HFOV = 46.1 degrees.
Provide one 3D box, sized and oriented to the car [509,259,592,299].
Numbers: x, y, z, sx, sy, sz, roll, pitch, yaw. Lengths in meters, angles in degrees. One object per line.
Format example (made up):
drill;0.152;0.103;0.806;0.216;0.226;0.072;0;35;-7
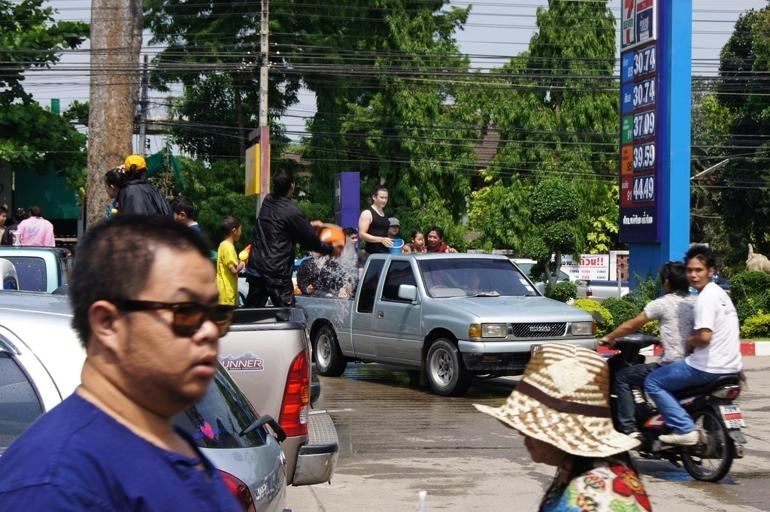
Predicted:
car;4.318;0.573;23.356;2.049;1.201;1.250;-2;3;10

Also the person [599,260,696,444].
person;2.696;0.991;9.144;0.859;1.923;0.812;-7;-15;36

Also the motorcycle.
motorcycle;2.760;1.469;9.248;0.862;1.280;2.081;1;1;-25

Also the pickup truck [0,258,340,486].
pickup truck;-1.459;0.930;6.363;2.134;0.985;1.234;2;-3;3

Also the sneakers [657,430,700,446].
sneakers;2.786;1.716;8.573;0.375;0.174;0.141;3;3;10

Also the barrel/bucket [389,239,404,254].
barrel/bucket;0.165;-0.176;14.807;0.216;0.179;0.253;0;-9;3

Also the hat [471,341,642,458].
hat;0.853;0.638;4.350;0.731;0.442;0.746;1;4;-40

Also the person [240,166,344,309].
person;-1.090;0.097;10.313;1.076;2.096;1.055;5;10;2

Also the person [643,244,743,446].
person;2.968;0.839;8.647;0.828;1.891;0.535;-1;3;-28

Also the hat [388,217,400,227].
hat;0.129;-0.591;15.216;0.181;0.105;0.253;5;3;-16
